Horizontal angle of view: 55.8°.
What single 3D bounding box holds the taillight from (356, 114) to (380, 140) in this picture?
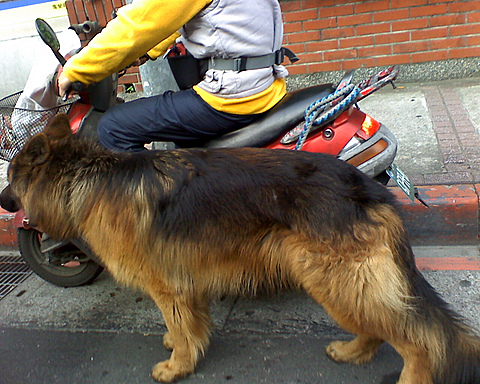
[{"bbox_3d":[0.932,-0.468,3.304,0.046,0.184,0.185,40,22,1],"label":"taillight"}]
